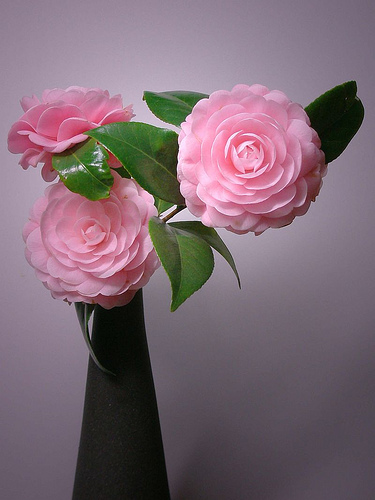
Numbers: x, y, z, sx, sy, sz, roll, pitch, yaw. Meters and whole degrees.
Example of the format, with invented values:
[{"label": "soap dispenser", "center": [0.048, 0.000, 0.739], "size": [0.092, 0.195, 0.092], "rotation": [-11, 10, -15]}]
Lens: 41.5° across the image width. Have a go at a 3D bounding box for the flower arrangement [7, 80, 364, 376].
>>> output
[{"label": "flower arrangement", "center": [-0.043, -0.031, 0.668], "size": [0.384, 0.408, 0.288], "rotation": [21, 33, 28]}]
